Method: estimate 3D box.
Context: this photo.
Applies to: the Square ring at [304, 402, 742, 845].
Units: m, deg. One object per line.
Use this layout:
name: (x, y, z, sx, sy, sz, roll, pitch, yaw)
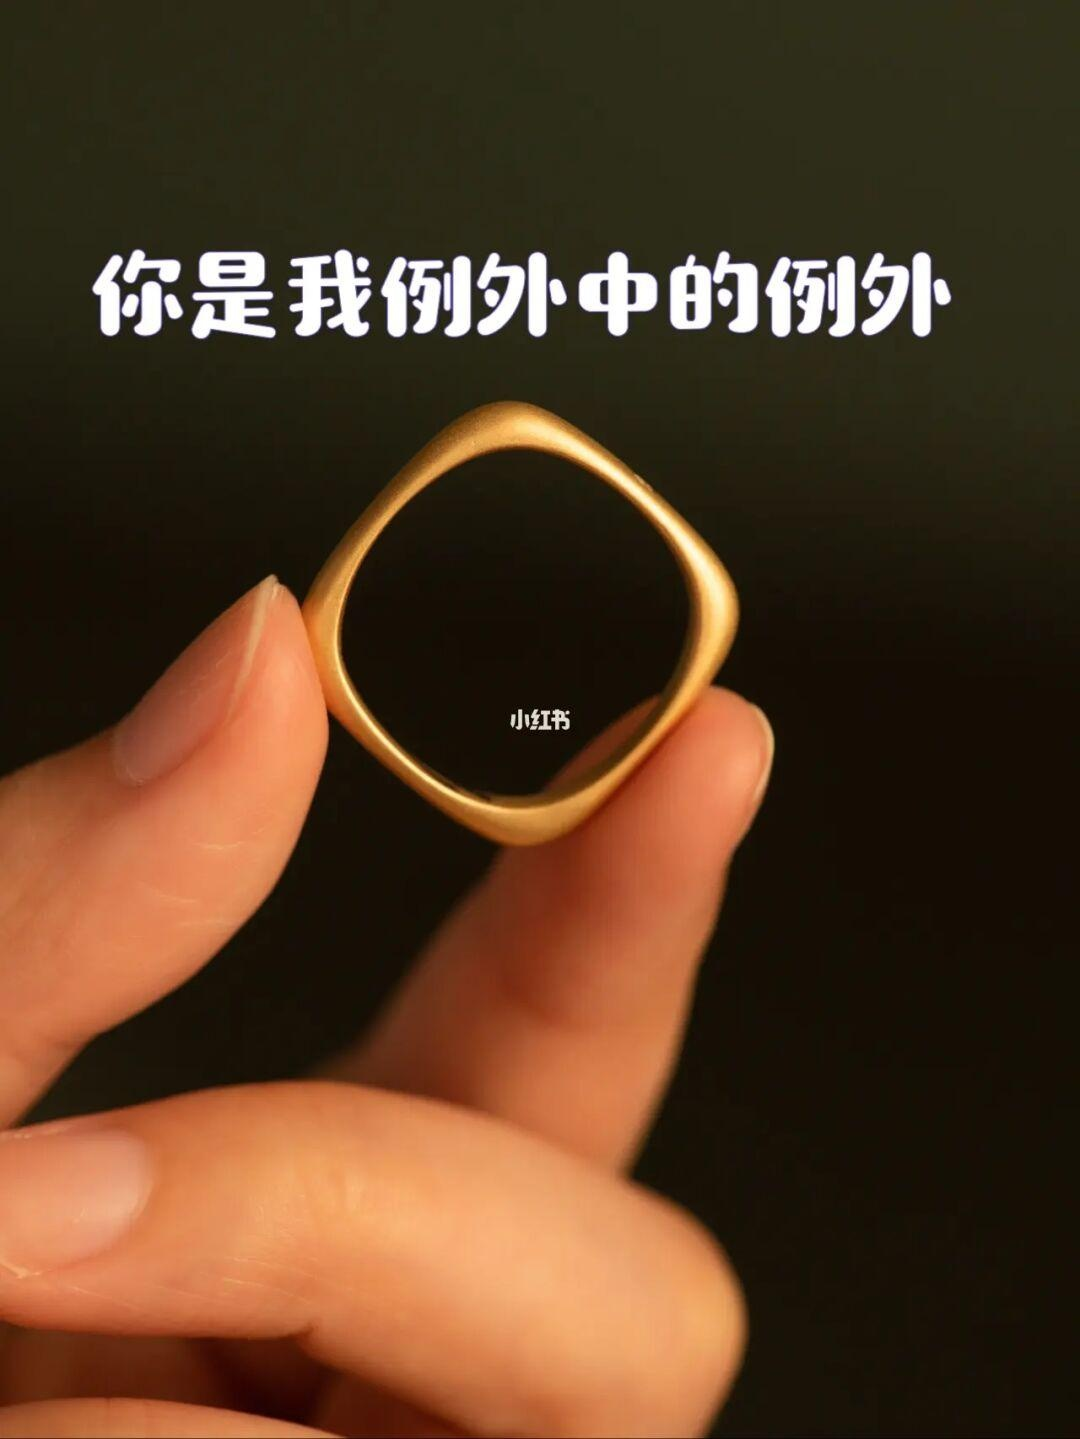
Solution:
Square ring: (-0.009, -0.032, 0.519, 0.117, 0.102, 0.135, 41, 76, 17)
